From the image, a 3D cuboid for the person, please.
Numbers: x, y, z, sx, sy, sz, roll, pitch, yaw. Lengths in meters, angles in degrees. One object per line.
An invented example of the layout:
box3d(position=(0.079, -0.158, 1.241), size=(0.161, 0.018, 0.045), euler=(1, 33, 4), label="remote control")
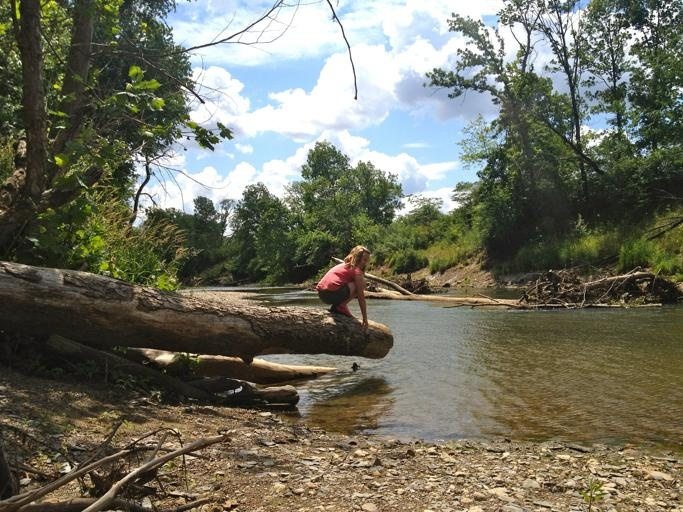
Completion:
box3d(position=(0.113, 0.513, 13.101), size=(1.080, 1.374, 0.997), euler=(3, 6, -45), label="person")
